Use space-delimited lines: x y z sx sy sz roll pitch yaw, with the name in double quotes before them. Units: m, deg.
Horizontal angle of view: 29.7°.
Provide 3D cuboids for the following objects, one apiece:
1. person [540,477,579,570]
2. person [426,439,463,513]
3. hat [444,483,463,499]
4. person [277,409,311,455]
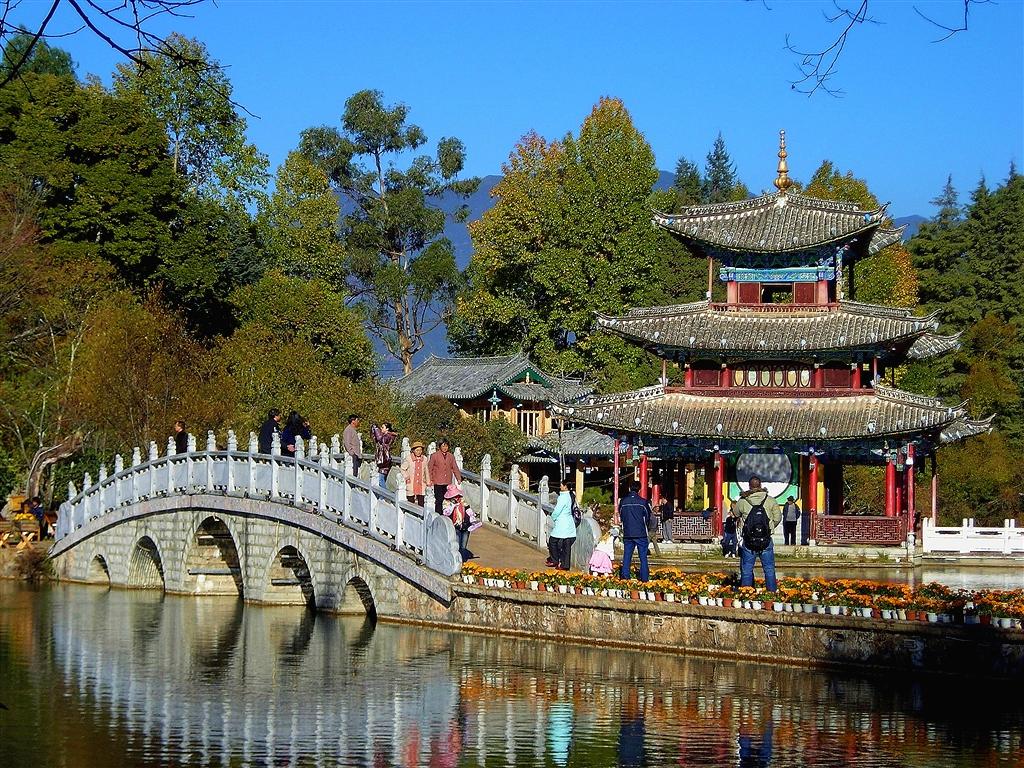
"person" 1.099 3.174 41.928 0.615 1.860 1.113 -2 9 1
"person" -1.503 1.997 42.783 0.663 1.582 1.828 -2 9 -2
"hat" -1.257 2.332 42.468 0.263 0.355 0.540 1 10 18
"person" -5.187 1.243 46.369 0.678 1.236 1.903 -3 10 -8
